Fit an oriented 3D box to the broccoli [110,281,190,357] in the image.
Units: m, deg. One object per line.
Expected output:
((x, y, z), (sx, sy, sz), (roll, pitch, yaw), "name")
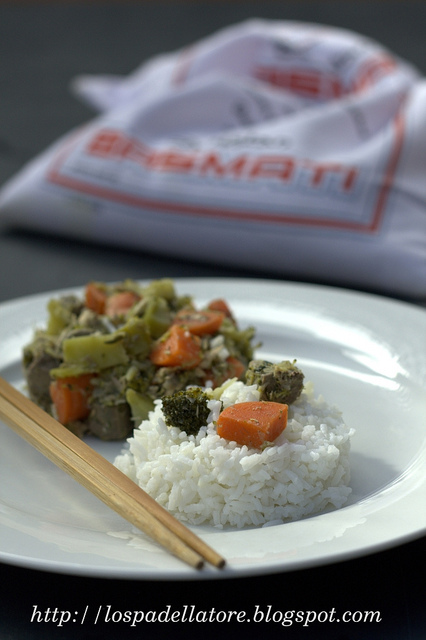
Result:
((-0.196, 0.001, 2.033), (0.195, 0.073, 0.244), (-22, 20, 28), "broccoli")

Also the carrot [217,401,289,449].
((0.092, 0.219, 1.470), (0.126, 0.075, 0.129), (21, 45, 22), "carrot")

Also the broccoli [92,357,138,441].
((-0.285, 0.225, 1.867), (0.181, 0.070, 0.208), (1, 75, 36), "broccoli")

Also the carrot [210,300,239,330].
((0.051, -0.026, 2.300), (0.039, 0.104, 0.108), (-48, 37, 5), "carrot")

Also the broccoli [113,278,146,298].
((-0.292, -0.111, 2.204), (0.079, 0.019, 0.074), (-7, 29, -34), "broccoli")

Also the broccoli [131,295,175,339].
((-0.177, -0.012, 2.008), (0.140, 0.053, 0.112), (42, 78, 6), "broccoli")

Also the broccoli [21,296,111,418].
((-0.430, 0.120, 2.023), (0.299, 0.126, 0.366), (-25, 33, 16), "broccoli")

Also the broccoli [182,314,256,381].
((0.022, 0.084, 2.036), (0.210, 0.073, 0.181), (-7, 76, -22), "broccoli")

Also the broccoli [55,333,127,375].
((-0.348, 0.098, 1.864), (0.178, 0.117, 0.049), (0, 57, -10), "broccoli")

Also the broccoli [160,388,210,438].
((-0.060, 0.218, 1.530), (0.104, 0.100, 0.094), (-11, 43, -12), "broccoli")

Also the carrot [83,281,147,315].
((-0.327, -0.075, 2.121), (0.147, 0.047, 0.136), (3, 20, -10), "carrot")

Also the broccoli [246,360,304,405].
((0.150, 0.176, 1.624), (0.153, 0.180, 0.079), (16, 74, 0), "broccoli")

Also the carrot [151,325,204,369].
((-0.074, 0.075, 2.011), (0.242, 0.104, 0.140), (8, 9, 38), "carrot")

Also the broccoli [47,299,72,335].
((-0.476, -0.009, 2.025), (0.087, 0.090, 0.080), (-1, 42, -2), "broccoli")

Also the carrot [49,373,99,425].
((-0.396, 0.226, 1.878), (0.152, 0.186, 0.117), (-7, 9, -36), "carrot")
